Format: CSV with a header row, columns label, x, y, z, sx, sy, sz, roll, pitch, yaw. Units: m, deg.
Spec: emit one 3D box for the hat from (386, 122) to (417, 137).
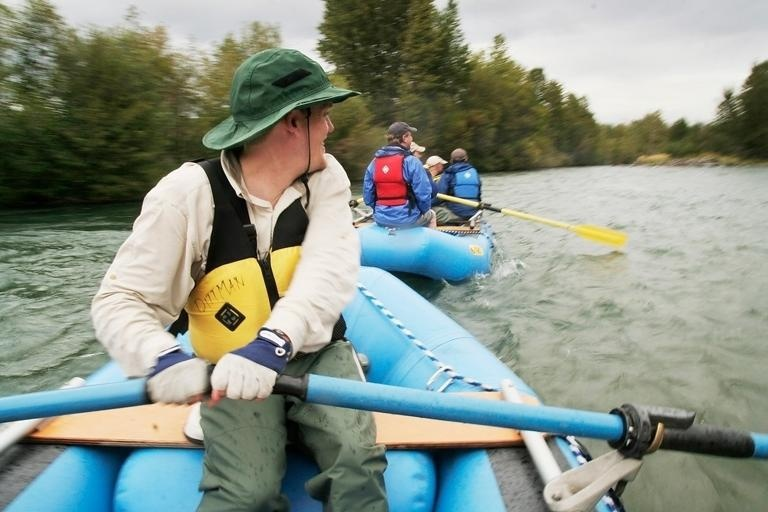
label,x,y,z,sx,sy,sz,roll,pitch,yaw
hat,0.258,-1.684,6.464,0.527,0.200,0.337,-15,20,-41
